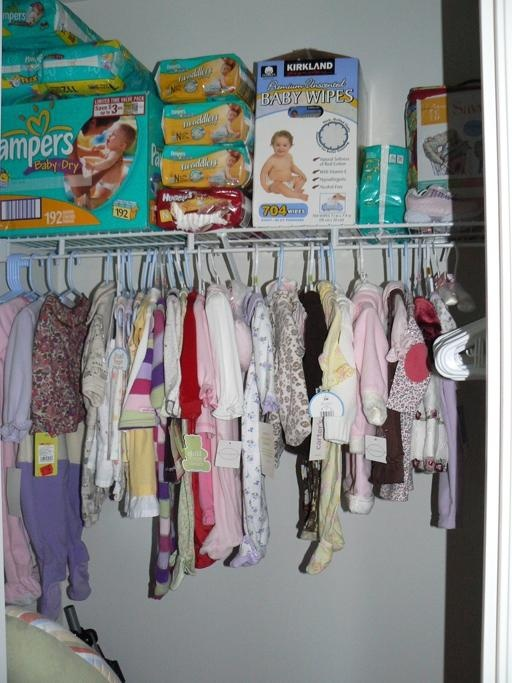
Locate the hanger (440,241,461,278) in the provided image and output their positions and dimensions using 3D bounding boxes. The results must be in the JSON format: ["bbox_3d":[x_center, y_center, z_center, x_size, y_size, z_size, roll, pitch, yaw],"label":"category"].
[{"bbox_3d":[0.586,-0.235,1.850,0.076,0.131,0.030,-1,4,12],"label":"hanger"}]

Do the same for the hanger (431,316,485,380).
[{"bbox_3d":[0.300,0.018,0.919,0.096,0.081,0.035,-16,10,-7],"label":"hanger"}]

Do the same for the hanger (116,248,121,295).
[{"bbox_3d":[-0.420,-0.204,1.859,0.014,0.130,0.130,0,1,-12],"label":"hanger"}]
